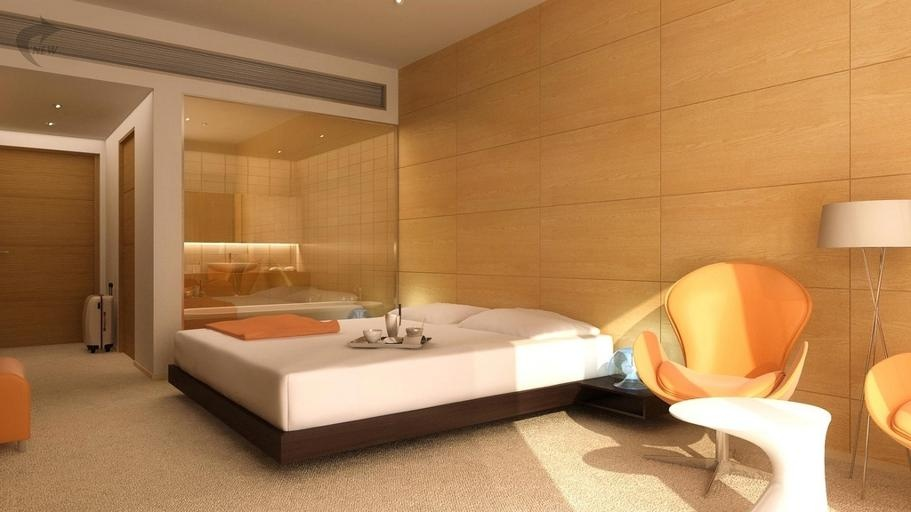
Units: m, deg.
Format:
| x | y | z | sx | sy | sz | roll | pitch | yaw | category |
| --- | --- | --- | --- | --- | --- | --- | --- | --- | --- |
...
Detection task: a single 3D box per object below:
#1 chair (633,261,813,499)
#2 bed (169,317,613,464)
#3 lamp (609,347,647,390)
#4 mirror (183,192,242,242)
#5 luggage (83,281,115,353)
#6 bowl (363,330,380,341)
| x | y | z | sx | sy | sz | roll | pitch | yaw | category |
| --- | --- | --- | --- | --- | --- | --- | --- | --- | --- |
| 2.364 | 0.963 | 4.583 | 1.270 | 1.343 | 1.336 | -23 | 14 | -34 | chair |
| -0.382 | 1.137 | 4.873 | 2.427 | 0.414 | 1.959 | 0 | 0 | -33 | bed |
| 1.758 | 1.100 | 5.436 | 0.318 | 0.284 | 0.290 | -8 | -17 | -24 | lamp |
| -3.073 | -0.490 | 6.697 | 0.862 | 0.668 | 0.422 | -1 | -1 | -29 | mirror |
| -5.230 | 0.994 | 7.895 | 0.453 | 0.817 | 0.322 | -7 | 15 | -27 | luggage |
| -0.788 | 0.748 | 5.074 | 0.155 | 0.069 | 0.132 | 1 | -3 | -12 | bowl |
